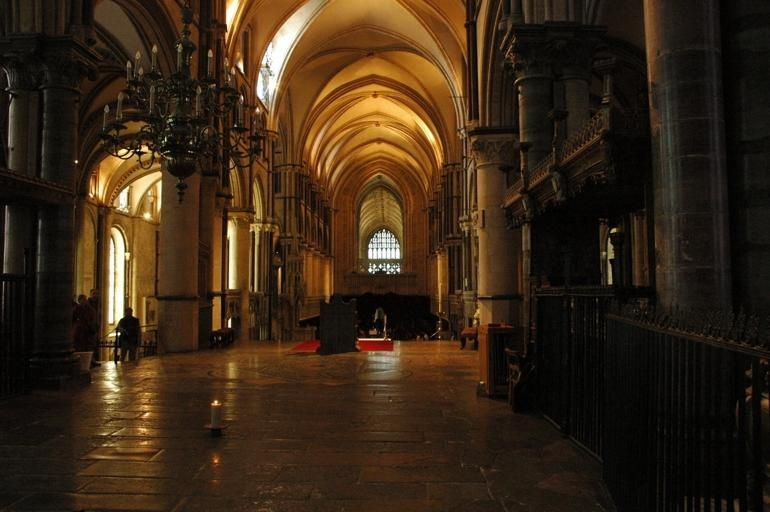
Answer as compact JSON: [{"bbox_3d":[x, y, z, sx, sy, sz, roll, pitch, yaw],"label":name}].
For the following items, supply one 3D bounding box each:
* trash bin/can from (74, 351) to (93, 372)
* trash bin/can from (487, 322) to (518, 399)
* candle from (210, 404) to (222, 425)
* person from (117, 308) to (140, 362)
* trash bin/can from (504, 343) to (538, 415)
[{"bbox_3d":[-5.759,2.081,14.576,0.401,0.319,0.405,-8,-11,38],"label":"trash bin/can"},{"bbox_3d":[1.965,1.861,12.742,0.432,1.159,1.092,4,-4,-9],"label":"trash bin/can"},{"bbox_3d":[-2.405,2.317,10.817,0.125,0.358,0.092,1,3,-1],"label":"candle"},{"bbox_3d":[-6.204,2.011,18.362,0.508,1.380,1.659,0,3,-19],"label":"person"},{"bbox_3d":[2.174,2.066,12.139,0.524,1.288,1.046,0,-4,1],"label":"trash bin/can"}]
